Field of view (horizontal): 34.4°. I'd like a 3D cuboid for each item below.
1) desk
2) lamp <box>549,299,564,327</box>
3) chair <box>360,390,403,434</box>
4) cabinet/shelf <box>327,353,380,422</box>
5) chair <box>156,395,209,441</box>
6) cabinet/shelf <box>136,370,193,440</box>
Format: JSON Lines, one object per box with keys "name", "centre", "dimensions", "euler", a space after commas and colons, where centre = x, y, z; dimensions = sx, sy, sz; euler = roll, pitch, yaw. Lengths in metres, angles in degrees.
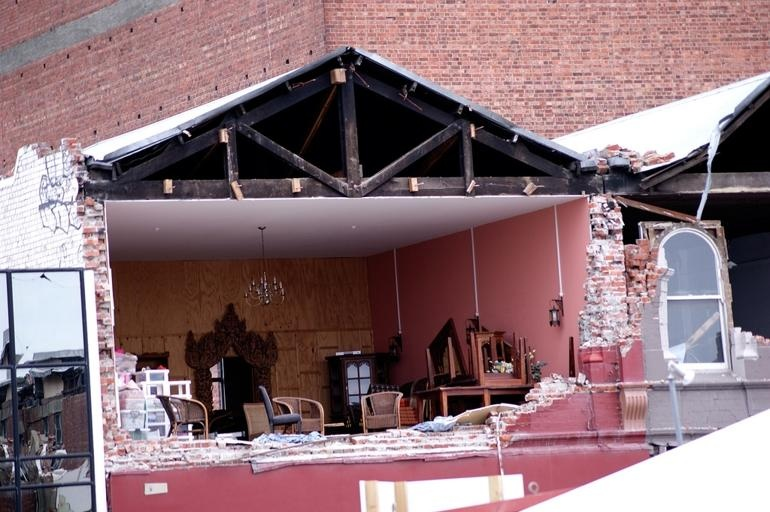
{"name": "desk", "centre": [1.769, 3.085, 25.444], "dimensions": [2.176, 0.925, 1.514], "euler": [-8, -16, 20]}
{"name": "lamp", "centre": [3.509, 1.188, 25.885], "dimensions": [0.188, 0.602, 0.396], "euler": [6, -16, -29]}
{"name": "chair", "centre": [-0.082, 3.336, 25.930], "dimensions": [0.840, 1.092, 0.783], "euler": [-1, -14, -8]}
{"name": "cabinet/shelf", "centre": [-0.708, 3.121, 29.095], "dimensions": [1.418, 1.992, 0.753], "euler": [0, -5, -3]}
{"name": "chair", "centre": [-4.015, 3.313, 25.288], "dimensions": [1.085, 1.009, 1.035], "euler": [-2, -1, -34]}
{"name": "cabinet/shelf", "centre": [-4.448, 2.997, 25.542], "dimensions": [0.864, 1.811, 1.345], "euler": [0, -9, -5]}
